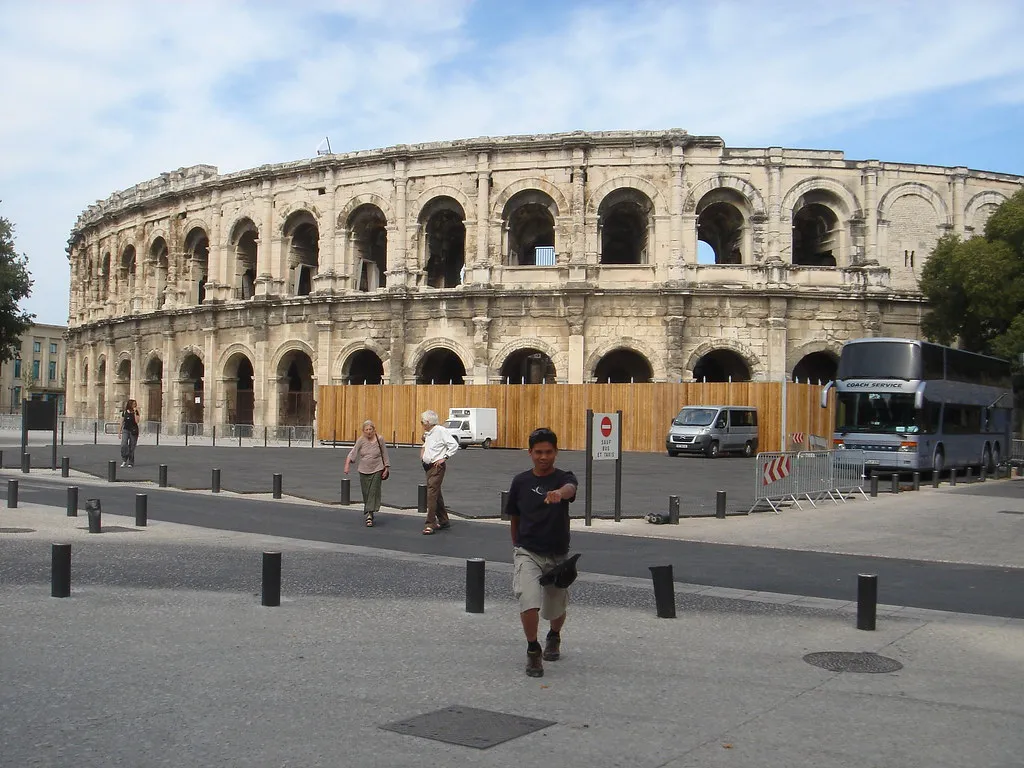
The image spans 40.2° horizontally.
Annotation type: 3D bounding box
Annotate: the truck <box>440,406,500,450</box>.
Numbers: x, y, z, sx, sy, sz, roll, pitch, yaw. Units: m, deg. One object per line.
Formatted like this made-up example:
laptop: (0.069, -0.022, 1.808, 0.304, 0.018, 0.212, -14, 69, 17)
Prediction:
truck: (-1.575, 1.522, 50.121, 1.020, 1.042, 1.901, -3, -5, 38)

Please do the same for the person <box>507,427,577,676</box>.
person: (0.360, 1.971, 17.031, 0.815, 2.897, 1.136, 0, 8, -1)

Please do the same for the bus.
bus: (12.040, 0.628, 39.720, 3.214, 4.343, 11.735, 6, 9, 35)

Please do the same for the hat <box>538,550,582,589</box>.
hat: (0.603, 2.267, 16.918, 0.458, 0.190, 0.449, -25, 8, -30)

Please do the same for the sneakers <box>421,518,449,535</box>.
sneakers: (-1.375, 2.553, 24.827, 0.172, 0.216, 0.551, -3, -8, 19)

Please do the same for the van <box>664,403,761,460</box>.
van: (6.695, 1.587, 46.509, 1.500, 1.232, 2.787, -5, -9, 41)
